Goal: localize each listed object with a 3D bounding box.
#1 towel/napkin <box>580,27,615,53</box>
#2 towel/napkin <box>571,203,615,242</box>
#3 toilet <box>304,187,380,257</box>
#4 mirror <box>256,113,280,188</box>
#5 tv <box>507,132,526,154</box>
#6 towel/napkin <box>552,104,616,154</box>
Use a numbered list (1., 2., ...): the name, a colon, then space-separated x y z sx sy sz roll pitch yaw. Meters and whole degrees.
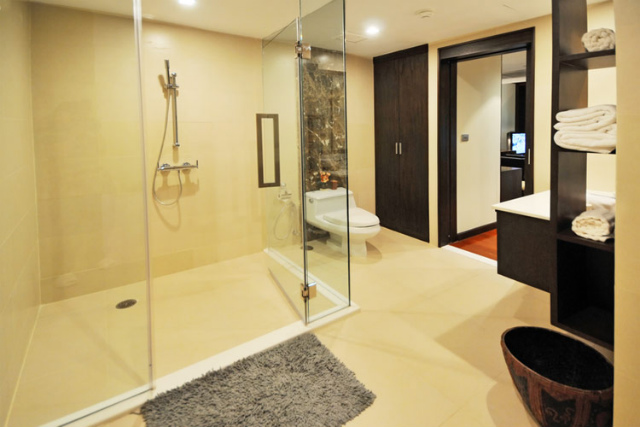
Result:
1. towel/napkin: 1.620 -1.011 2.645 0.158 0.151 0.060 -14 4 44
2. towel/napkin: 1.694 0.016 2.859 0.233 0.127 0.351 -2 16 37
3. toilet: 0.222 0.086 3.793 0.617 0.455 0.448 16 23 42
4. mirror: -0.503 -0.579 4.349 0.160 0.727 0.579 -7 15 -17
5. tv: 3.051 -1.089 7.079 0.225 0.315 0.651 2 16 19
6. towel/napkin: 1.535 -0.487 2.659 0.276 0.161 0.305 11 27 36
